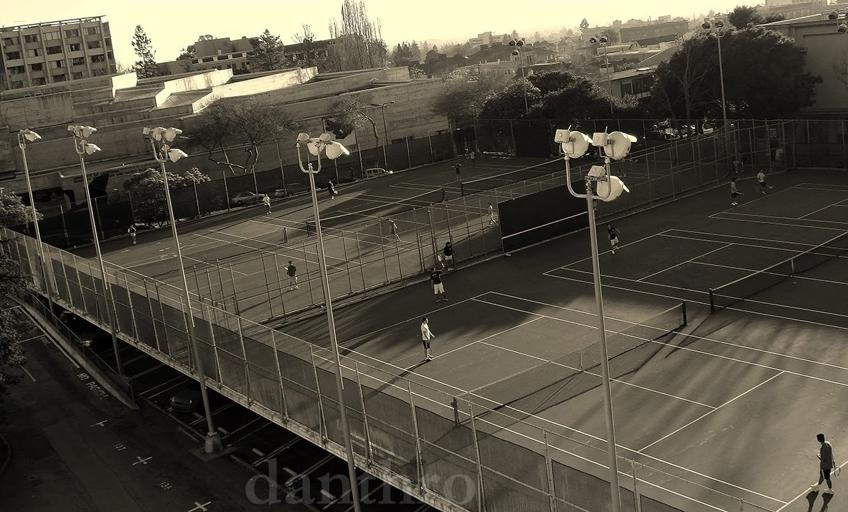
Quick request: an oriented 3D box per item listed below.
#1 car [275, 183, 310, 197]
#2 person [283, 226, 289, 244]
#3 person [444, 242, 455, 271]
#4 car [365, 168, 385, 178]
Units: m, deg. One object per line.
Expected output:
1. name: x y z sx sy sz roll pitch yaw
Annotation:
1. car: -16.176 -7.900 97.465 3.853 1.394 1.692 -13 17 -19
2. person: -13.198 -1.974 76.955 0.333 1.392 1.431 6 -3 -22
3. person: 2.083 -0.087 65.784 0.710 2.203 1.295 -6 16 5
4. car: -6.301 -10.475 101.845 1.959 0.942 1.166 -8 24 -7
